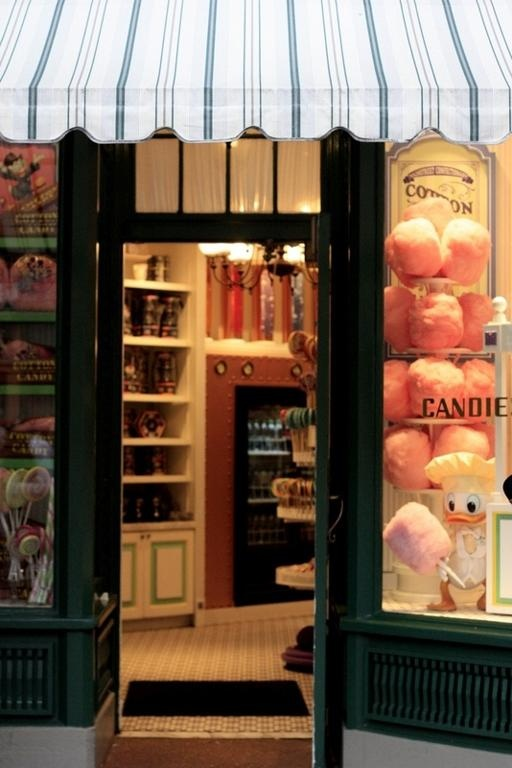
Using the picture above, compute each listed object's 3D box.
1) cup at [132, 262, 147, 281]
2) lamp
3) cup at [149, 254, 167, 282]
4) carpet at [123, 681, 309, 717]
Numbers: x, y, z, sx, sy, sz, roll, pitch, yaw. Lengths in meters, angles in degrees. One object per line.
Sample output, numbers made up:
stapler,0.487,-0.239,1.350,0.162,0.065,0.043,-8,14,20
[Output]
cup,-0.754,-0.725,6.671,0.094,0.131,0.107,-1,5,-5
lamp,-0.025,-0.742,6.295,0.422,0.255,0.578,0,-1,-14
cup,-0.631,-0.747,6.648,0.128,0.182,0.137,1,1,0
carpet,-0.185,1.458,4.741,0.824,0.094,0.596,-5,-3,-4
